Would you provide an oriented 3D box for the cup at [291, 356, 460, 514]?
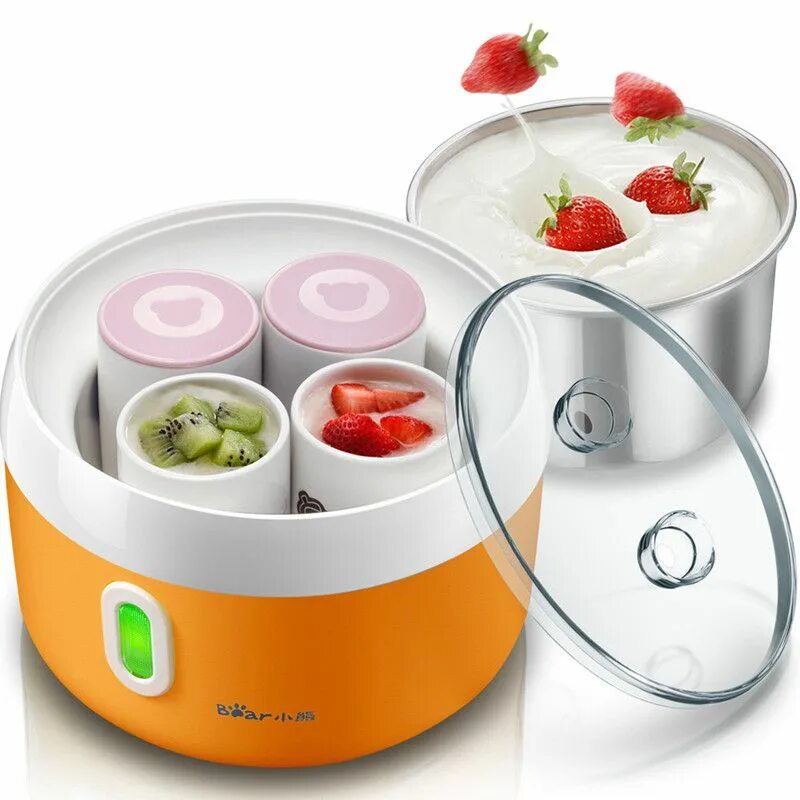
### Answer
[{"bbox_3d":[-0.039,0.012,1.198,0.241,0.156,0.219,0,36,0],"label":"cup"}]

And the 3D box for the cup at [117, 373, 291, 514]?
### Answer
[{"bbox_3d":[-0.251,0.044,1.200,0.223,0.146,0.203,4,35,-2],"label":"cup"}]

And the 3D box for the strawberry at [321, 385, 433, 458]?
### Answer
[{"bbox_3d":[-0.044,0.009,1.224,0.108,0.042,0.118,-5,25,-6],"label":"strawberry"}]

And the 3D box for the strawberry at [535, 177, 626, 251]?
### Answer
[{"bbox_3d":[0.375,-0.385,1.882,0.106,0.163,0.107,-39,21,39],"label":"strawberry"}]
